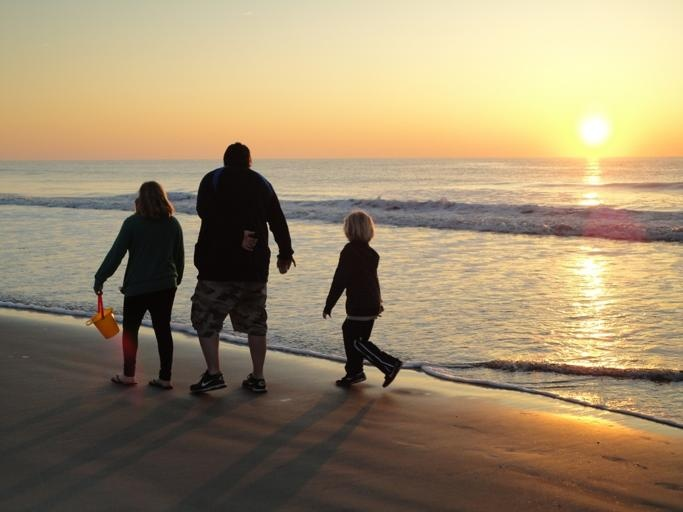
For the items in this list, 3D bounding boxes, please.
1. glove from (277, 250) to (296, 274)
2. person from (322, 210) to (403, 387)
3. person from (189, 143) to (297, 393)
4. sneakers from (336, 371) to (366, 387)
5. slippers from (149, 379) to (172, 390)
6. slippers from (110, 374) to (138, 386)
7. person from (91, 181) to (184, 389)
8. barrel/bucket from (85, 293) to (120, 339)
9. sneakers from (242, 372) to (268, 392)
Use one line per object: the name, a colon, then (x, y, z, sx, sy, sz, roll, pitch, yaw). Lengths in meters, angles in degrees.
glove: (-0.479, 0.087, 5.786, 0.164, 0.139, 0.332, -3, -13, -1)
person: (0.214, 0.413, 6.043, 0.715, 1.630, 0.489, 4, 14, 3)
person: (-0.848, 0.137, 5.686, 0.822, 2.116, 0.423, 2, 14, -4)
sneakers: (0.089, 1.148, 6.202, 0.319, 0.087, 0.109, -14, 9, 1)
slippers: (-1.594, 1.131, 5.876, 0.223, 0.051, 0.078, 9, 11, 21)
slippers: (-1.926, 1.088, 5.919, 0.219, 0.058, 0.086, 8, 7, 16)
person: (-1.771, 0.248, 5.860, 0.732, 1.815, 0.608, 1, 14, -10)
barrel/bucket: (-2.216, 0.546, 6.048, 0.289, 0.338, 0.210, -25, 16, -22)
sneakers: (-0.775, 1.114, 5.889, 0.125, 0.083, 0.257, -7, 11, -35)
